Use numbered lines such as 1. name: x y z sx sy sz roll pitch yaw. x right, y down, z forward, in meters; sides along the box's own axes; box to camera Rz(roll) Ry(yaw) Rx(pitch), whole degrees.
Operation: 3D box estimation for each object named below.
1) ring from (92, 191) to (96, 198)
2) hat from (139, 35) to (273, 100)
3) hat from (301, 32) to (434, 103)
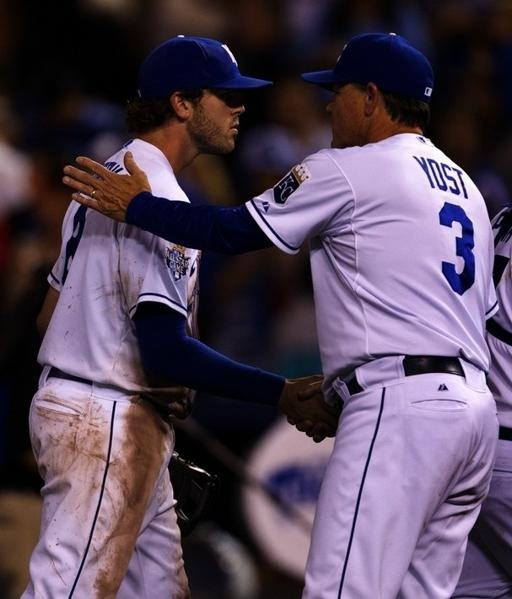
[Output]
1. ring: -0.585 -0.383 4.499 0.015 0.024 0.016 -6 -7 -1
2. hat: -0.224 -0.907 4.873 0.528 0.285 0.371 -7 3 1
3. hat: 0.521 -0.897 4.819 0.365 0.307 0.548 6 4 -41
